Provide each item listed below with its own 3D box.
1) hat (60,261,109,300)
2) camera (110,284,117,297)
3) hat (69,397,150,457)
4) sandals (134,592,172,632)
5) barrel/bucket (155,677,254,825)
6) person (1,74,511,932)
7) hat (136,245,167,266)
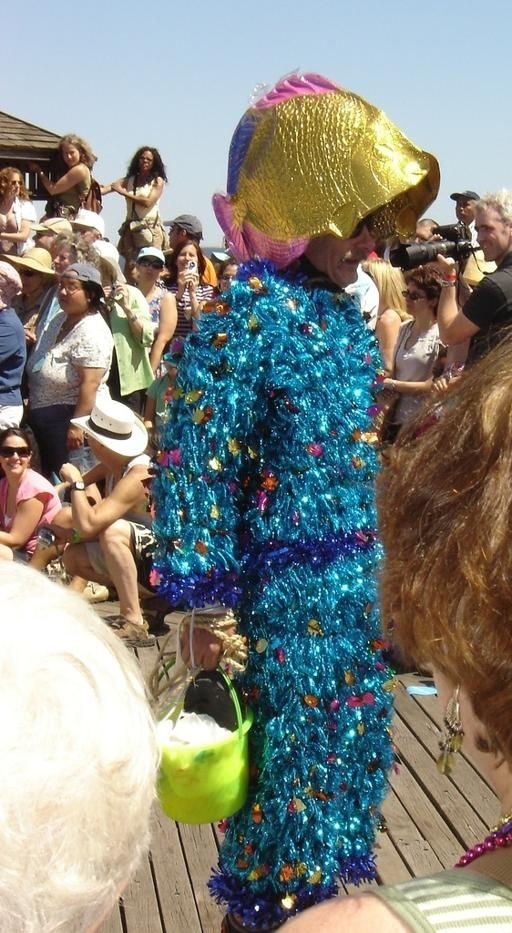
[{"bbox_3d":[-0.960,-1.059,4.515,0.244,0.129,0.167,18,10,-34],"label":"hat"},{"bbox_3d":[-0.925,-1.131,5.113,0.029,0.081,0.061,1,12,-19],"label":"camera"},{"bbox_3d":[-0.649,-0.179,3.575,0.306,0.115,0.277,36,32,9],"label":"hat"},{"bbox_3d":[-0.479,0.709,3.836,0.160,0.190,0.202,3,-1,-2],"label":"sandals"},{"bbox_3d":[-0.090,0.537,1.474,0.109,0.236,0.181,6,12,37],"label":"barrel/bucket"},{"bbox_3d":[0.063,0.074,1.624,0.407,1.761,0.606,4,11,26],"label":"person"},{"bbox_3d":[-0.778,-1.553,5.867,0.201,0.089,0.278,6,11,-10],"label":"hat"}]
